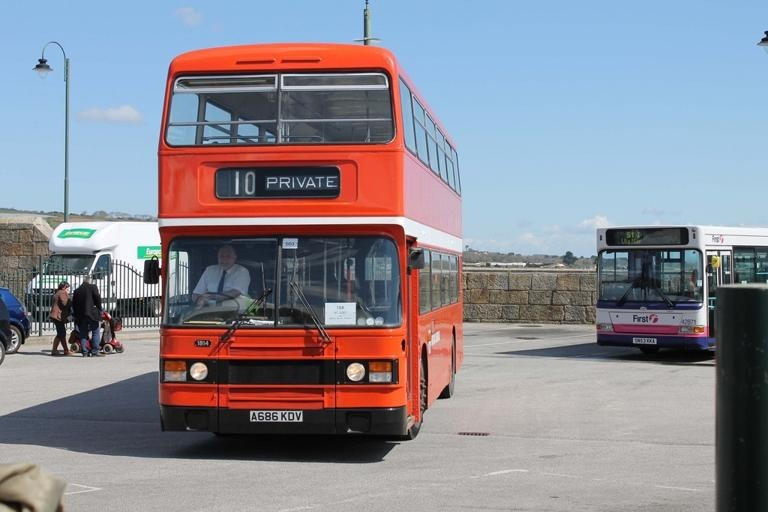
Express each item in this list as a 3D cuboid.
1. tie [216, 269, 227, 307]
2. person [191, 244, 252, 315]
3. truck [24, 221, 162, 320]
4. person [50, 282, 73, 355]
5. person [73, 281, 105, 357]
[{"bbox_3d":[-1.953,0.355,11.260,0.059,0.543,0.062,10,-12,12],"label":"tie"},{"bbox_3d":[-1.964,0.267,11.292,0.701,0.794,0.196,0,1,-6],"label":"person"},{"bbox_3d":[-10.662,0.438,35.546,2.654,3.656,7.072,2,3,14],"label":"truck"},{"bbox_3d":[-8.327,1.594,23.995,0.494,1.882,1.517,0,1,-20],"label":"person"},{"bbox_3d":[-7.373,1.513,23.127,0.694,2.020,0.781,0,1,-17],"label":"person"}]
